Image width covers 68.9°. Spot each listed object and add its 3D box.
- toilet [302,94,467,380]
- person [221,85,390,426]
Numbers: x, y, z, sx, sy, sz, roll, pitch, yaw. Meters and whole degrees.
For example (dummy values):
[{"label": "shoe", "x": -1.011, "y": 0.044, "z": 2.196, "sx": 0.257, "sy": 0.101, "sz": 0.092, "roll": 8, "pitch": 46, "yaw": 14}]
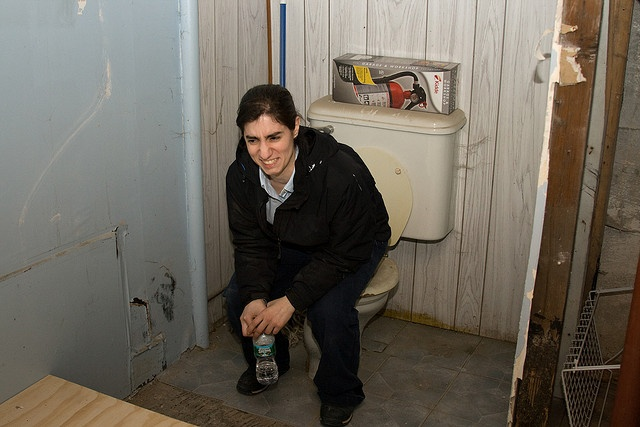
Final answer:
[{"label": "toilet", "x": 0.298, "y": 0.073, "z": 2.153, "sx": 0.633, "sy": 1.000, "sz": 0.990, "roll": 13, "pitch": 53, "yaw": 19}, {"label": "person", "x": -0.089, "y": 0.138, "z": 2.033, "sx": 0.672, "sy": 1.352, "sz": 0.571, "roll": 8, "pitch": 22, "yaw": 24}]
